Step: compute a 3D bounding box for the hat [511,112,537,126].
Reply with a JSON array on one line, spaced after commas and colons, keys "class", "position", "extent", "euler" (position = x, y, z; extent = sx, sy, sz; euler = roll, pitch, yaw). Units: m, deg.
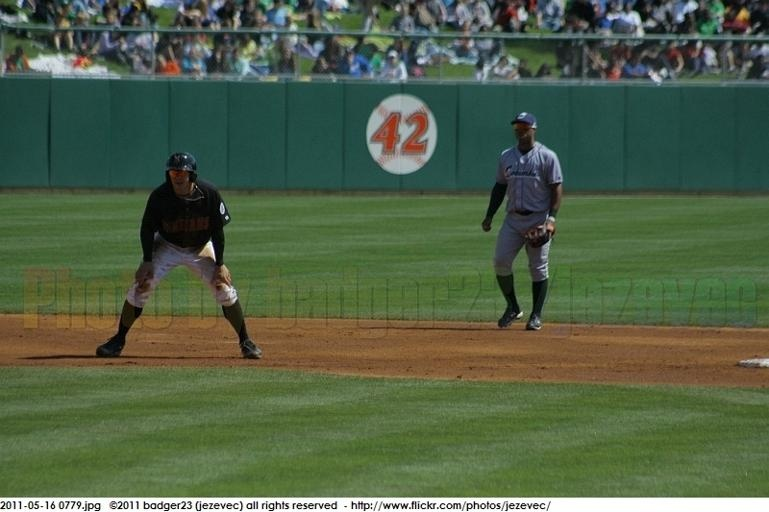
[{"class": "hat", "position": [2.280, -2.151, 24.502], "extent": [0.349, 0.214, 0.216], "euler": [0, 7, -14]}]

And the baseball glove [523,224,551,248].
[{"class": "baseball glove", "position": [2.497, -0.320, 24.665], "extent": [0.409, 0.327, 0.304], "euler": [4, 2, 6]}]

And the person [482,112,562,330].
[{"class": "person", "position": [2.305, -0.549, 24.852], "extent": [1.194, 3.474, 0.700], "euler": [3, 7, 16]}]

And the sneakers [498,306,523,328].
[{"class": "sneakers", "position": [2.074, 0.997, 24.954], "extent": [0.527, 0.225, 0.204], "euler": [-35, 18, -21]}]

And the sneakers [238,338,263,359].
[{"class": "sneakers", "position": [-2.022, 1.427, 23.419], "extent": [0.209, 0.177, 0.411], "euler": [-15, 8, -24]}]

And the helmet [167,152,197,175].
[{"class": "helmet", "position": [-2.974, -1.368, 22.869], "extent": [0.446, 0.331, 0.467], "euler": [4, 12, 5]}]
